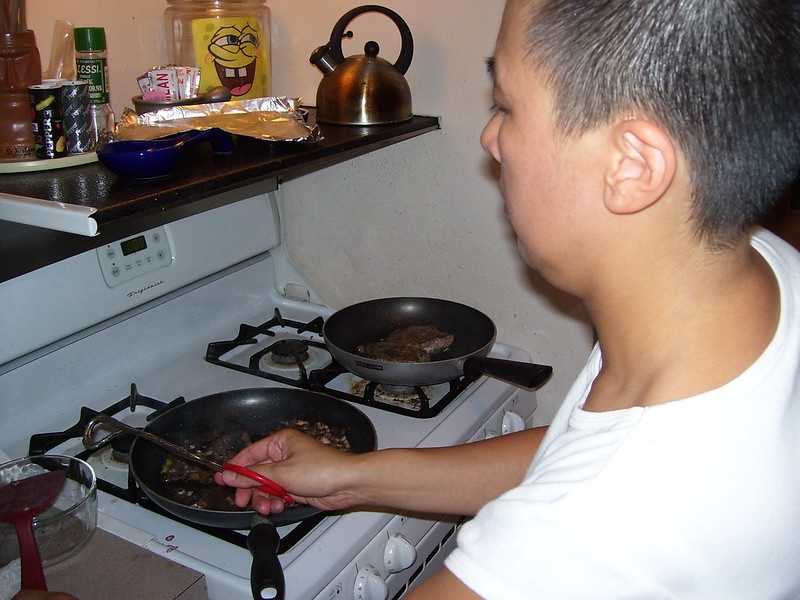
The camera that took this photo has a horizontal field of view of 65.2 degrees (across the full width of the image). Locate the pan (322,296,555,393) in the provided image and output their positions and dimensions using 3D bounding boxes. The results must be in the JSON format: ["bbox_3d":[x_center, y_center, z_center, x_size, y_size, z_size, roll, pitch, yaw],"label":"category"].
[{"bbox_3d":[0.079,0.092,1.389,0.412,0.066,0.256,18,24,40],"label":"pan"}]

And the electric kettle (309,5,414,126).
[{"bbox_3d":[-0.109,-0.516,1.420,0.285,0.267,0.255,0,24,-12],"label":"electric kettle"}]

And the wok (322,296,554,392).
[{"bbox_3d":[0.069,0.094,1.382,0.413,0.067,0.256,18,24,39],"label":"wok"}]

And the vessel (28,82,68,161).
[{"bbox_3d":[-0.537,-0.272,0.960,0.051,0.107,0.041,-11,23,-27],"label":"vessel"}]
